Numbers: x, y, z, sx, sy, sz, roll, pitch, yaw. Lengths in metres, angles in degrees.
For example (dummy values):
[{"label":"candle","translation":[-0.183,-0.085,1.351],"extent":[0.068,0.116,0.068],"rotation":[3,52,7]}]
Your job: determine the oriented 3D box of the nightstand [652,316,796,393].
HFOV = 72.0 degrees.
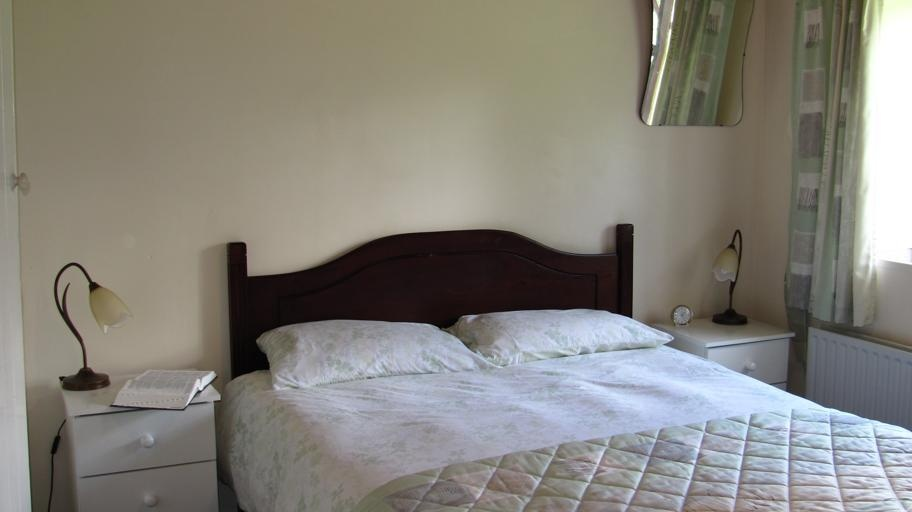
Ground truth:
[{"label":"nightstand","translation":[1.961,0.699,4.414],"extent":[0.576,0.517,0.486],"rotation":[-13,21,9]}]
